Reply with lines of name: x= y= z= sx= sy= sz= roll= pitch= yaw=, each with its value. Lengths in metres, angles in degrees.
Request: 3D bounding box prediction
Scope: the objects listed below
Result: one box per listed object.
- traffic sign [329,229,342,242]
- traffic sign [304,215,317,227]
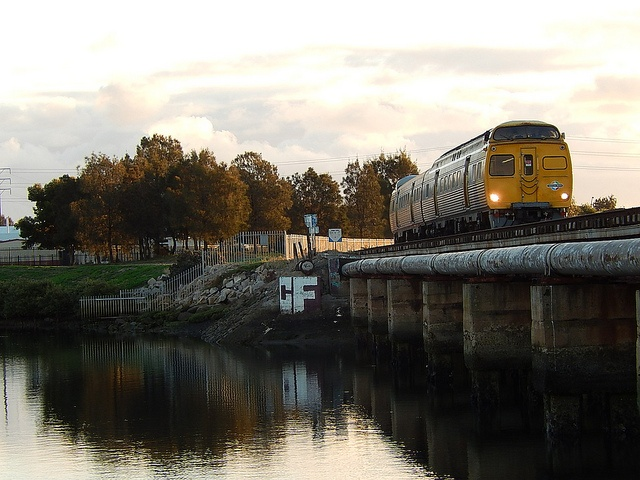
traffic sign: x=1.061 y=-0.423 z=60.308 sx=1.045 sy=1.068 sz=0.153 roll=-5 pitch=13 yaw=-36
traffic sign: x=-0.638 y=-1.347 z=56.971 sx=0.958 sy=1.065 sz=0.740 roll=-1 pitch=0 yaw=-5
